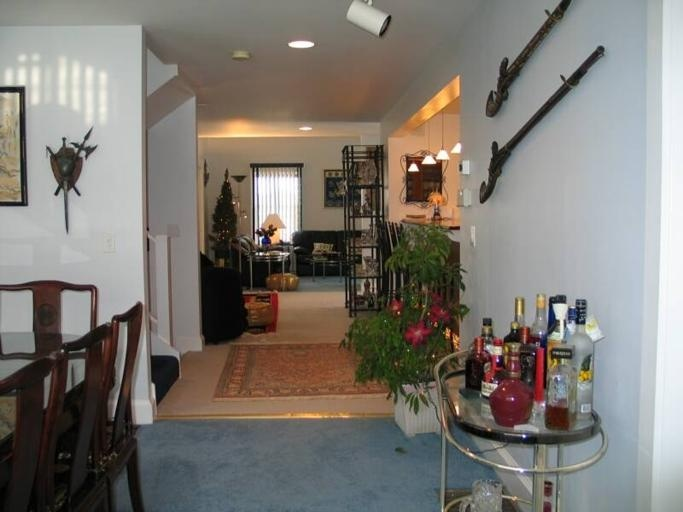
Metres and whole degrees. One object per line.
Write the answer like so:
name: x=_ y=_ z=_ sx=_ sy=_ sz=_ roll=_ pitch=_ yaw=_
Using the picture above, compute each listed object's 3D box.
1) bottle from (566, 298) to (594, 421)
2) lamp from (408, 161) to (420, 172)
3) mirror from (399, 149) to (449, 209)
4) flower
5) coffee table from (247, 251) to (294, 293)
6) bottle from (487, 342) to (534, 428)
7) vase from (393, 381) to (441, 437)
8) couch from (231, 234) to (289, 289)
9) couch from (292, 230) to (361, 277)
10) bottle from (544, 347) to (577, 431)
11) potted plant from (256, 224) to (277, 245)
bottle: x=0.905 y=0.401 z=2.067 sx=0.096 sy=0.432 sz=0.103 roll=1 pitch=-7 yaw=0
lamp: x=1.008 y=-1.229 z=7.569 sx=0.135 sy=0.169 sz=0.147 roll=-1 pitch=2 yaw=0
mirror: x=1.141 y=-1.107 z=7.816 sx=0.822 sy=1.021 sz=0.040 roll=-2 pitch=4 yaw=-36
flower: x=0.416 y=0.663 z=3.548 sx=0.743 sy=0.793 sz=0.393 roll=0 pitch=6 yaw=0
coffee table: x=-1.396 y=0.242 z=10.249 sx=0.649 sy=0.707 sz=0.872 roll=0 pitch=5 yaw=-5
bottle: x=0.660 y=0.487 z=2.056 sx=0.134 sy=0.272 sz=0.209 roll=5 pitch=8 yaw=40
vase: x=0.564 y=1.036 z=3.795 sx=0.223 sy=0.355 sz=0.252 roll=-3 pitch=6 yaw=0
couch: x=-1.527 y=0.091 z=11.006 sx=1.390 sy=1.061 sz=1.513 roll=-8 pitch=6 yaw=-1
couch: x=-0.307 y=-0.015 z=11.719 sx=1.459 sy=1.179 sz=0.883 roll=0 pitch=-3 yaw=2
bottle: x=0.805 y=0.486 z=2.001 sx=0.114 sy=0.310 sz=0.124 roll=-1 pitch=8 yaw=0
potted plant: x=-1.397 y=-0.410 z=10.428 sx=0.374 sy=0.460 sz=0.401 roll=-4 pitch=7 yaw=-37
